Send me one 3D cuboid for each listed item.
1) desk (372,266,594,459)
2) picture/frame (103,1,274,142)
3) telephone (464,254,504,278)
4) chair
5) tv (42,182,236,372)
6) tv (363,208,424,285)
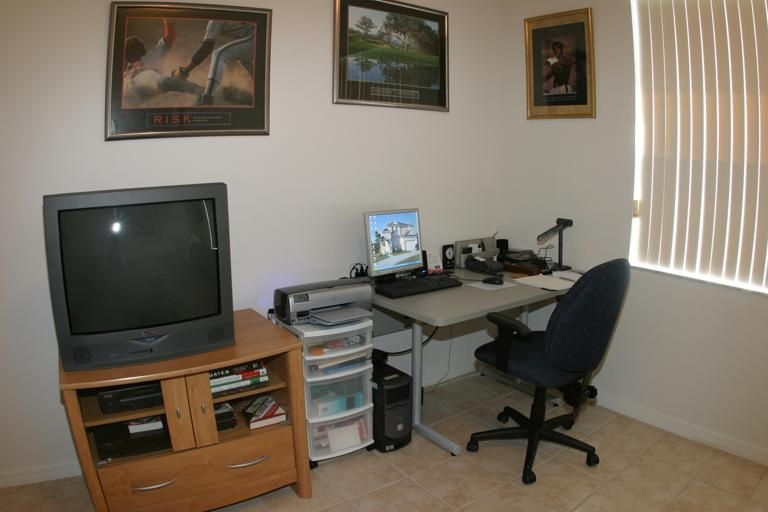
[{"bbox_3d":[0.624,0.348,3.819,1.963,0.984,1.011,-10,14,-40],"label":"desk"},{"bbox_3d":[-1.311,-1.217,3.542,0.961,0.798,0.064,-2,6,-28],"label":"picture/frame"},{"bbox_3d":[0.788,0.063,4.364,0.160,0.064,0.213,-9,27,-32],"label":"telephone"},{"bbox_3d":[1.185,0.817,3.819,1.080,1.622,1.013,-11,17,-40],"label":"chair"},{"bbox_3d":[-1.388,0.130,3.144,0.990,1.091,0.590,-4,8,-28],"label":"tv"},{"bbox_3d":[0.057,-0.075,4.057,0.528,0.493,0.051,-6,4,-36],"label":"tv"}]
